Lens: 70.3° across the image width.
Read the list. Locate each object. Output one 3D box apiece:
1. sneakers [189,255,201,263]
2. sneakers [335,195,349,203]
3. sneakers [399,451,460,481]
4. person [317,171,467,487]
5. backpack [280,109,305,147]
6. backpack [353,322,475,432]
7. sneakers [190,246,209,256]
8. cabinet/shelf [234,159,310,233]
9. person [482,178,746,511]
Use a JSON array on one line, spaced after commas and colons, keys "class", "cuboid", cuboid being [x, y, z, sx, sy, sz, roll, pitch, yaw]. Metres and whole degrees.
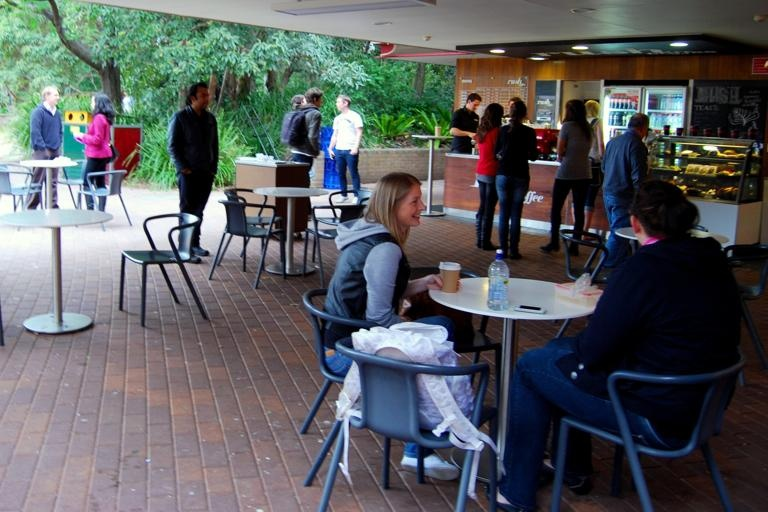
[{"class": "sneakers", "cuboid": [-2.537, 0.041, 7.339, 0.120, 0.124, 0.333, -3, 3, -39]}, {"class": "sneakers", "cuboid": [-0.885, -1.206, 11.493, 0.352, 0.122, 0.197, -3, 4, 17]}, {"class": "sneakers", "cuboid": [0.295, 1.272, 3.334, 0.372, 0.137, 0.127, 2, -3, 11]}, {"class": "person", "cuboid": [0.064, 0.402, 3.393, 1.047, 1.712, 0.750, -3, 2, -20]}, {"class": "backpack", "cuboid": [-1.687, -2.376, 10.075, 0.333, 0.722, 0.501, -8, 16, -36]}, {"class": "backpack", "cuboid": [0.124, 0.579, 2.539, 0.633, 0.544, 0.315, 4, 18, 24]}, {"class": "sneakers", "cuboid": [-2.646, -0.063, 7.793, 0.301, 0.105, 0.096, 1, 4, 24]}, {"class": "cabinet/shelf", "cuboid": [-1.598, -0.871, 7.950, 0.634, 1.017, 1.210, -9, 15, -40]}, {"class": "person", "cuboid": [1.195, 0.525, 2.757, 1.012, 1.792, 0.493, 7, 15, 26]}]
